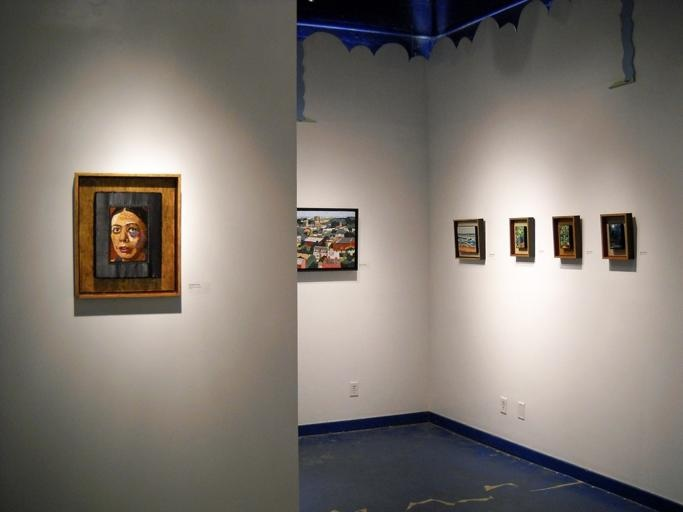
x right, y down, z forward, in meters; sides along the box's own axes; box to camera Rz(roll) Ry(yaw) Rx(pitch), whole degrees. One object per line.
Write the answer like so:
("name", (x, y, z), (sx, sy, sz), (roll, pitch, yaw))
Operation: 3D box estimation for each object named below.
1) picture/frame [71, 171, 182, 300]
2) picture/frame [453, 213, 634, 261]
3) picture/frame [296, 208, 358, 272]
("picture/frame", (-0.974, -0.102, 2.603), (0.435, 0.587, 0.031), (-1, 23, -23))
("picture/frame", (1.426, -0.120, 4.204), (0.100, 0.381, 1.464), (-3, 5, -35))
("picture/frame", (-0.144, -0.144, 4.754), (0.461, 0.502, 0.038), (-1, 3, -22))
